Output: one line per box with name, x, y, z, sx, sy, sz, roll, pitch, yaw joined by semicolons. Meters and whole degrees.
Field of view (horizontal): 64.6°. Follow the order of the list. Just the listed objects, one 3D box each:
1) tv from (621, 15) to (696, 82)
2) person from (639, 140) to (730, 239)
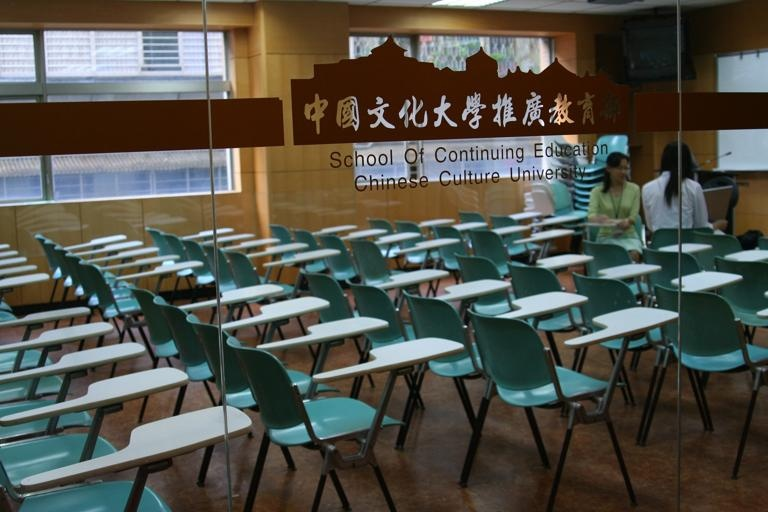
tv;1.899;-1.468;4.357;0.467;0.431;0.250;-5;1;3
person;2.304;-0.481;4.714;0.636;0.792;0.591;-8;11;-12
